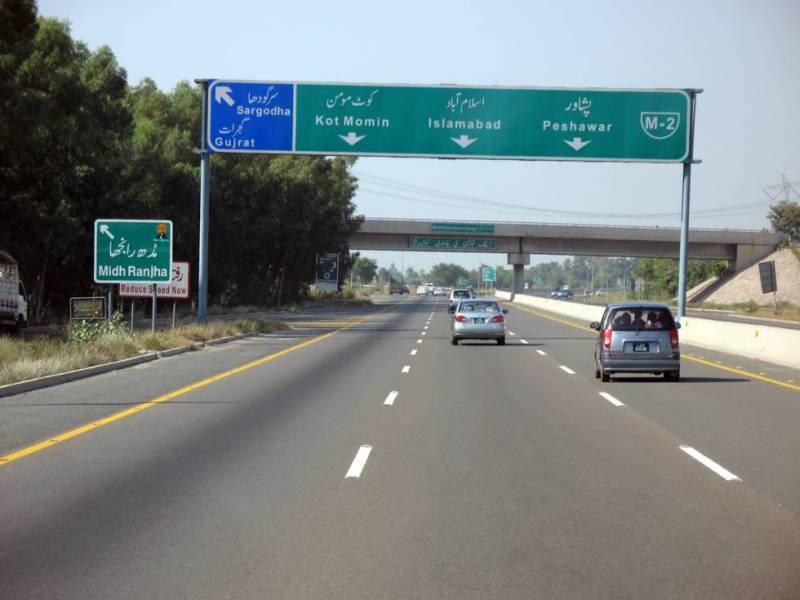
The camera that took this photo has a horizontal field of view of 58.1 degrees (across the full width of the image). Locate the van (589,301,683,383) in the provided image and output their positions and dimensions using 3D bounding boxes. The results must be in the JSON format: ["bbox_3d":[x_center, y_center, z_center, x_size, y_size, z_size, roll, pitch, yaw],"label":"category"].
[{"bbox_3d":[5.618,0.891,17.592,1.210,1.238,2.266,0,6,4],"label":"van"}]

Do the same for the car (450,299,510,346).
[{"bbox_3d":[3.139,0.900,28.763,2.046,1.835,0.984,3,2,-3],"label":"car"}]

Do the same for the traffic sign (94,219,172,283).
[{"bbox_3d":[-9.455,-1.724,25.404,1.686,1.769,0.190,0,-4,-1],"label":"traffic sign"}]
